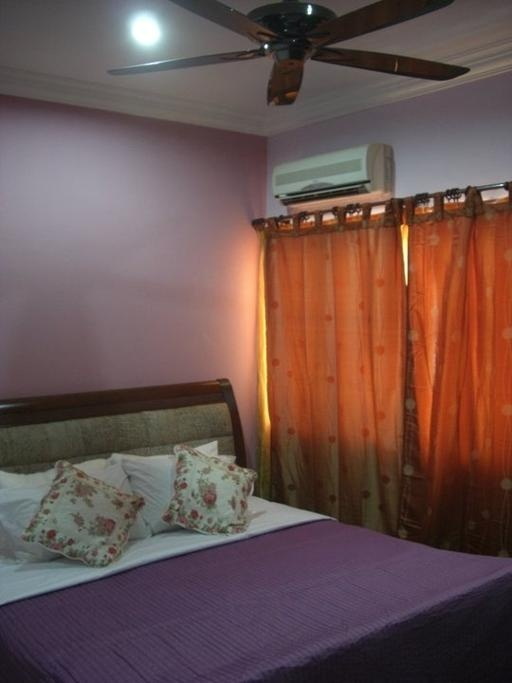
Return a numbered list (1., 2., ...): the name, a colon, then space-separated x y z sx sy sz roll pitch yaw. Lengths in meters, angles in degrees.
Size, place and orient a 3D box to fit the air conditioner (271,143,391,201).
1. air conditioner: 0.447 -1.005 3.504 0.272 0.256 0.758 -17 16 -38
